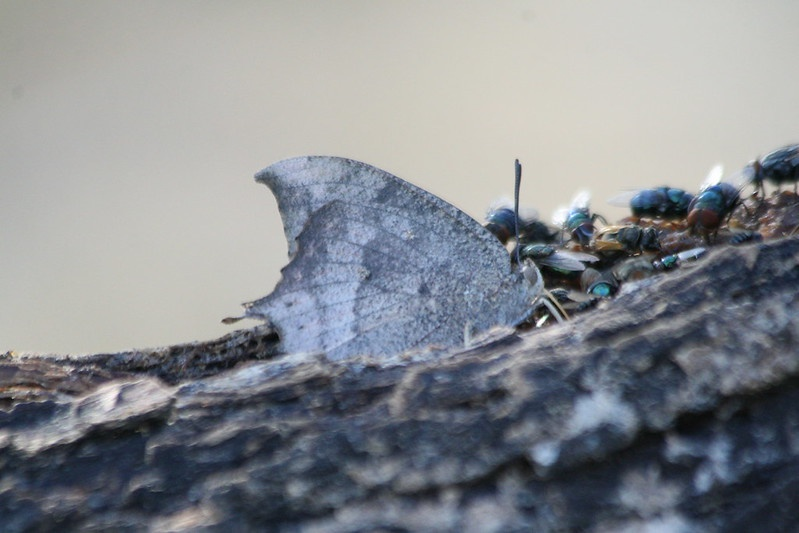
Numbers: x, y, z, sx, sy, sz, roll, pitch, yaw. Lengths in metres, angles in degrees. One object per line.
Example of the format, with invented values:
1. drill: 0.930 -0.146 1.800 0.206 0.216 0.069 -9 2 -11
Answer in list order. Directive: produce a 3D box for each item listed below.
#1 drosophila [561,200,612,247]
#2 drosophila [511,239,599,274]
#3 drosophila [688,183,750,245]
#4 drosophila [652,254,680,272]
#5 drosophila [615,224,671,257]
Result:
1. drosophila: 0.744 -0.164 6.175 0.239 0.152 0.108 -9 1 21
2. drosophila: 0.585 -0.030 5.623 0.197 0.066 0.147 -4 9 42
3. drosophila: 1.149 -0.209 5.528 0.175 0.224 0.068 13 -35 34
4. drosophila: 0.945 -0.009 5.400 0.070 0.027 0.069 -12 7 11
5. drosophila: 0.898 -0.096 5.698 0.154 0.096 0.073 0 -4 17
